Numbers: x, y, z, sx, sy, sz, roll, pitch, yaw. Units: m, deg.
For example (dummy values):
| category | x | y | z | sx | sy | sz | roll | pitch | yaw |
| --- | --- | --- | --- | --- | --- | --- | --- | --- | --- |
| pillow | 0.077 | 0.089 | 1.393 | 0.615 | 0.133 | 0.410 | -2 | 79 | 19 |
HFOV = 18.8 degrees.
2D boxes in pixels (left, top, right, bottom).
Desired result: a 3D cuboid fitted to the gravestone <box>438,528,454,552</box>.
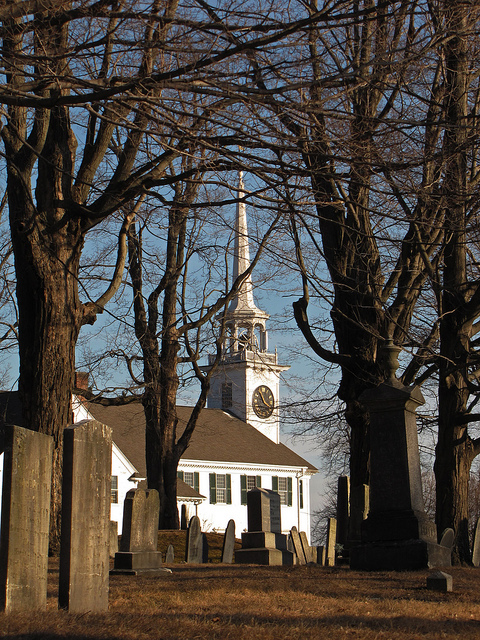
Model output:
| category | x | y | z | sx | sy | sz | roll | pitch | yaw |
| --- | --- | --- | --- | --- | --- | --- | --- | --- | --- |
| gravestone | 2.839 | 3.011 | 19.793 | 0.055 | 0.301 | 0.317 | 9 | -51 | 23 |

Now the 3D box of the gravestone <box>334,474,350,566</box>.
| category | x | y | z | sx | sy | sz | roll | pitch | yaw |
| --- | --- | --- | --- | --- | --- | --- | --- | --- | --- |
| gravestone | 1.710 | 3.106 | 22.717 | 0.337 | 1.397 | 0.312 | -3 | 4 | 0 |

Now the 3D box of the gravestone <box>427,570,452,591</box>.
| category | x | y | z | sx | sy | sz | roll | pitch | yaw |
| --- | --- | --- | --- | --- | --- | --- | --- | --- | --- |
| gravestone | 2.157 | 2.824 | 15.602 | 0.243 | 0.241 | 0.324 | -5 | -18 | 14 |

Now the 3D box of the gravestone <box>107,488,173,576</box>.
| category | x | y | z | sx | sy | sz | roll | pitch | yaw |
| --- | --- | --- | --- | --- | --- | --- | --- | --- | --- |
| gravestone | -1.338 | 2.922 | 19.417 | 0.607 | 1.318 | 0.660 | -7 | -7 | 39 |
